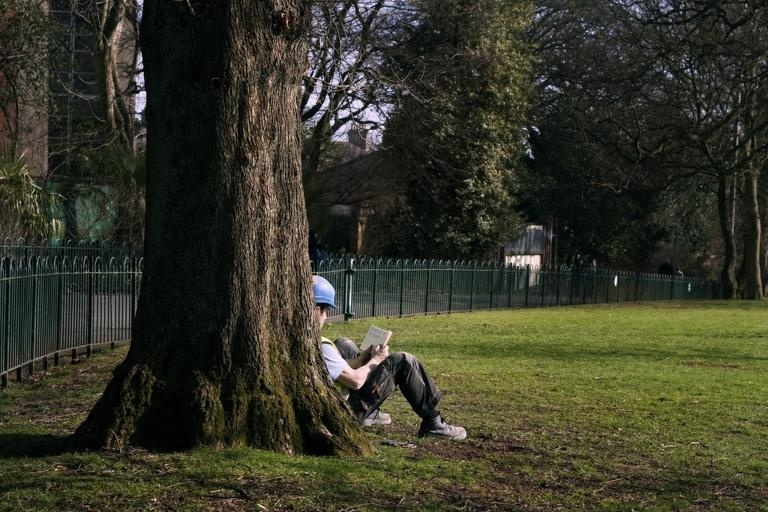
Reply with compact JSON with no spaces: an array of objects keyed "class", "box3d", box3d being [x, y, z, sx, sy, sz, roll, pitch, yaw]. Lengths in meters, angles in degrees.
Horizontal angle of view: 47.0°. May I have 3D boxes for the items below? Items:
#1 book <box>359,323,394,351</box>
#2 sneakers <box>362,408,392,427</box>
[{"class":"book","box3d":[-0.027,1.120,12.182,0.351,0.351,0.082,16,-3,32]},{"class":"sneakers","box3d":[-0.093,2.280,12.621,0.425,0.302,0.172,-11,17,-24]}]
